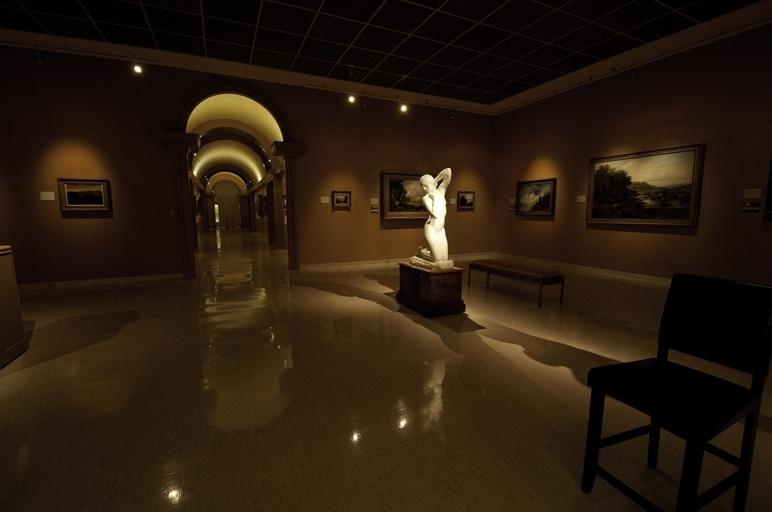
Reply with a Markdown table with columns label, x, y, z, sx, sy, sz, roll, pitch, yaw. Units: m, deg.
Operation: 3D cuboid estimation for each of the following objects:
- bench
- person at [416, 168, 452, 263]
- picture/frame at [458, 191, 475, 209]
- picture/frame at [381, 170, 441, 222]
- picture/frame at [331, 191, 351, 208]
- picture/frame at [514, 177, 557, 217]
| label | x | y | z | sx | sy | sz | roll | pitch | yaw |
| --- | --- | --- | --- | --- | --- | --- | --- | --- | --- |
| bench | 2.601 | 0.463 | 9.156 | 1.360 | 0.647 | 2.187 | -4 | 12 | -18 |
| person | 0.878 | -0.715 | 8.115 | 0.502 | 1.672 | 0.751 | 1 | 11 | 6 |
| picture/frame | 2.273 | -1.621 | 12.970 | 0.489 | 0.455 | 0.064 | -2 | 4 | -23 |
| picture/frame | 0.500 | -1.477 | 10.933 | 1.599 | 1.468 | 0.140 | -1 | 1 | -29 |
| picture/frame | -1.176 | -1.445 | 11.427 | 0.401 | 0.372 | 0.045 | -2 | 5 | -23 |
| picture/frame | 3.956 | -1.529 | 11.927 | 0.104 | 1.048 | 1.330 | -6 | 13 | -27 |
